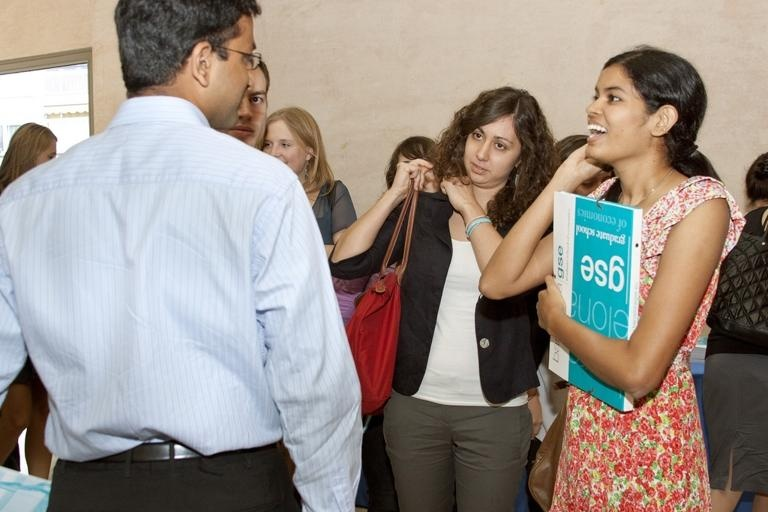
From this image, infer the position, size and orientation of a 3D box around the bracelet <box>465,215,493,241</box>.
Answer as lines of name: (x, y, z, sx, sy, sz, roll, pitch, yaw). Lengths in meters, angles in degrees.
bracelet: (0.374, -0.126, 2.453, 0.035, 0.089, 0.090, 40, 68, 19)

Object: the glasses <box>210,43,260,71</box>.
glasses: (-0.464, -0.595, 1.765, 0.097, 0.029, 0.096, 8, 5, 25)
